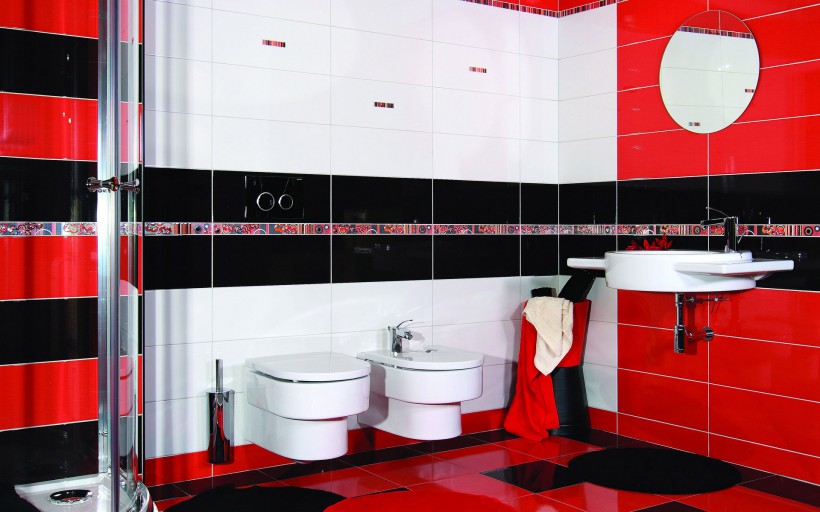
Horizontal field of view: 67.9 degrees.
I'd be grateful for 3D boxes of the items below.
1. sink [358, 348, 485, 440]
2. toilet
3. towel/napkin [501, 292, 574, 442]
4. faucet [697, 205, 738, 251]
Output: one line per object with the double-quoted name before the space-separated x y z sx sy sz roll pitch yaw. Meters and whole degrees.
"sink" 0.062 0.816 3.908 0.532 0.453 0.707 0 0 -34
"toilet" -0.609 0.808 3.579 0.565 0.466 0.692 0 -1 -33
"towel/napkin" 0.913 0.786 4.321 0.469 0.979 0.232 1 6 14
"faucet" 1.879 -0.158 3.679 0.211 0.261 0.471 3 7 27
